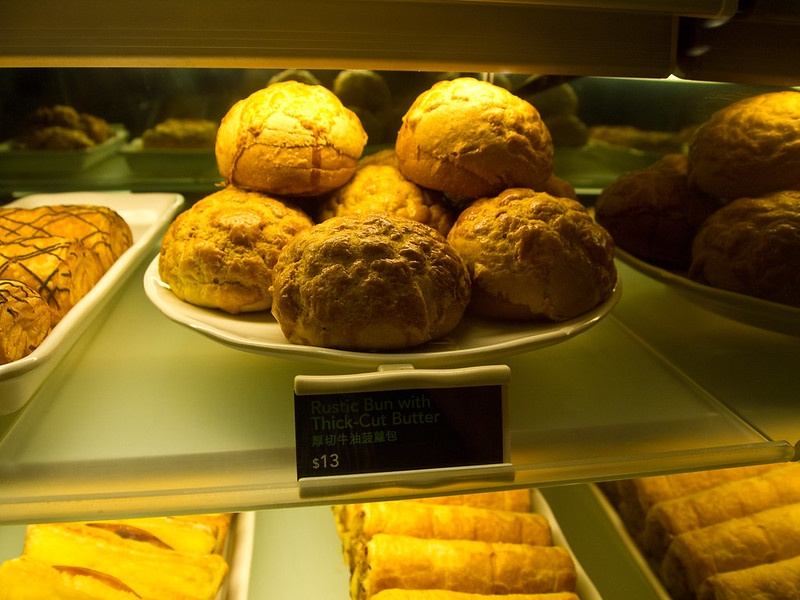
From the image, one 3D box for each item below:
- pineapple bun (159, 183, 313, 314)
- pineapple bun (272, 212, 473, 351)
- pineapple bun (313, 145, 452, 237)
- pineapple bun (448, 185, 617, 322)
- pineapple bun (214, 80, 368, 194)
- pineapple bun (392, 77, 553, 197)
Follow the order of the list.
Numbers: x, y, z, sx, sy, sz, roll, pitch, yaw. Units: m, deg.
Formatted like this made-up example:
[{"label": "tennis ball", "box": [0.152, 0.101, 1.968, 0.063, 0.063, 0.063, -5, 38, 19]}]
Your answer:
[{"label": "pineapple bun", "box": [-0.282, -0.114, 1.082, 0.308, 0.100, 0.274, 12, 41, 12]}, {"label": "pineapple bun", "box": [-0.041, -0.014, 0.864, 0.229, 0.132, 0.225, 1, -1, -32]}, {"label": "pineapple bun", "box": [-0.014, -0.195, 1.083, 0.185, 0.056, 0.169, 17, 35, 18]}, {"label": "pineapple bun", "box": [0.212, -0.060, 0.993, 0.228, 0.136, 0.225, -4, 27, -14]}, {"label": "pineapple bun", "box": [-0.197, -0.287, 1.079, 0.218, 0.141, 0.223, 12, 23, 23]}, {"label": "pineapple bun", "box": [0.149, -0.318, 1.131, 0.319, 0.184, 0.295, -13, 32, -26]}]
